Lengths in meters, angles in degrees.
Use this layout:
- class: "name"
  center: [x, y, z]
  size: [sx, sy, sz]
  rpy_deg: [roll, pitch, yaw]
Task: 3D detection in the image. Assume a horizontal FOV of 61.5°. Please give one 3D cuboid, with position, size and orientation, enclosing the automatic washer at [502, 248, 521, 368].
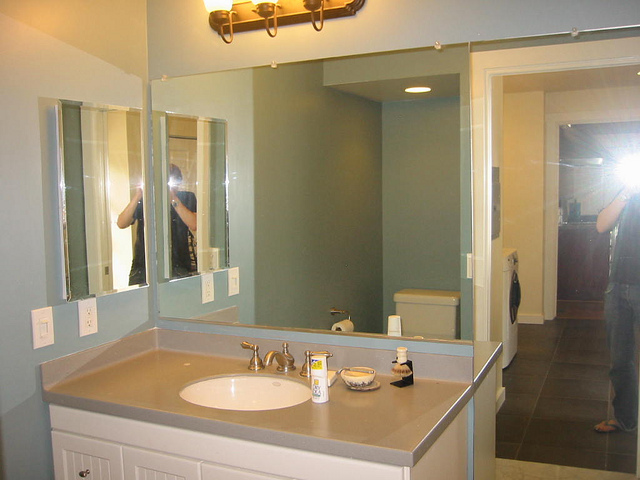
- class: "automatic washer"
  center: [0.810, 0.297, 2.290]
  size: [0.081, 0.527, 0.057]
  rpy_deg: [-2, 10, -2]

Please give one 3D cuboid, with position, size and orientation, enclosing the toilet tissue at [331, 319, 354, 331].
- class: "toilet tissue"
  center: [0.094, 0.365, 2.310]
  size: [0.059, 0.054, 0.089]
  rpy_deg: [-12, -13, 38]

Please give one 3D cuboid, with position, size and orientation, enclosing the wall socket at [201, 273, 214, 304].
- class: "wall socket"
  center: [-0.526, 0.225, 2.529]
  size: [0.071, 0.139, 0.026]
  rpy_deg: [2, 11, 16]

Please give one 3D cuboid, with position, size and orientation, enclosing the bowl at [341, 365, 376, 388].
- class: "bowl"
  center: [0.151, 0.529, 2.139]
  size: [0.130, 0.059, 0.196]
  rpy_deg: [-1, 10, 0]

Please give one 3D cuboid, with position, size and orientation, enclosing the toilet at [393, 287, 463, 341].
- class: "toilet"
  center: [0.457, 0.250, 2.293]
  size: [0.310, 0.316, 0.184]
  rpy_deg: [1, -1, 27]
